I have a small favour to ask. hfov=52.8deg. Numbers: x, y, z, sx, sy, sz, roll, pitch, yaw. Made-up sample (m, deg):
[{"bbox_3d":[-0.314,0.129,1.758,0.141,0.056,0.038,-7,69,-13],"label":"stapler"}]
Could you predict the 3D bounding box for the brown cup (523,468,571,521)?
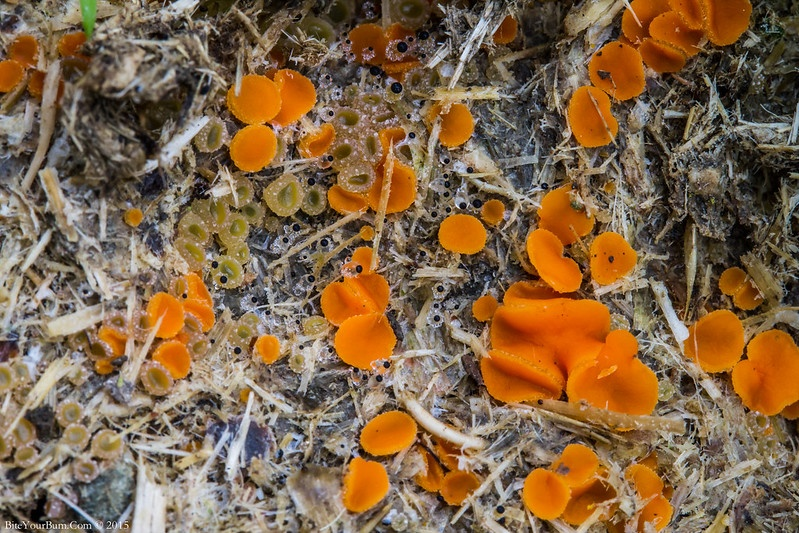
[{"bbox_3d":[0.850,1.333,4.686,0.266,0.267,0.134,10,19,13],"label":"brown cup"}]
